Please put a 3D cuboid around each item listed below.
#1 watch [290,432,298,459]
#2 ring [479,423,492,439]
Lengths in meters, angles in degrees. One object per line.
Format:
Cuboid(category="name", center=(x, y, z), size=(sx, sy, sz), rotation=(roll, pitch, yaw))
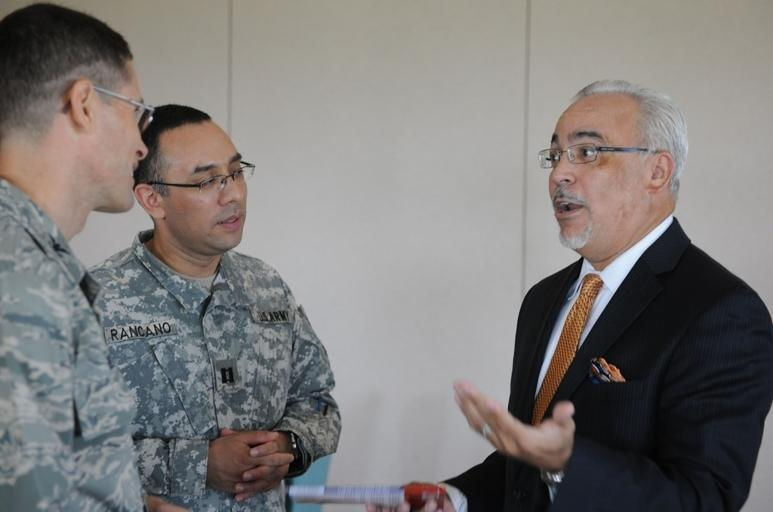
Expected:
Cuboid(category="watch", center=(-0.384, 0.799, 2.741), size=(0.032, 0.086, 0.060), rotation=(-1, -12, -18))
Cuboid(category="ring", center=(0.317, 0.556, 2.074), size=(0.016, 0.037, 0.049), rotation=(-6, 52, -26))
